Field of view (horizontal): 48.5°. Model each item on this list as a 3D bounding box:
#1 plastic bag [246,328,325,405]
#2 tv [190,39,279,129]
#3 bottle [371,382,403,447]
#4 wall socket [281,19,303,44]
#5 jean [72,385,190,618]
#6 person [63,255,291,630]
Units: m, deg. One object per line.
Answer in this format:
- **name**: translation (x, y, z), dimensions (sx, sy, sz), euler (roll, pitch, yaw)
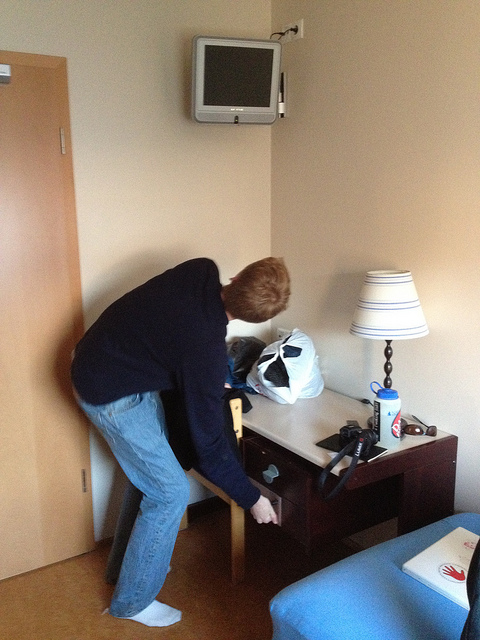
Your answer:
- **plastic bag**: translation (0.172, 0.130, 2.153), dimensions (0.397, 0.297, 0.233), euler (1, 21, -9)
- **tv**: translation (-0.022, -0.953, 2.119), dimensions (0.376, 0.334, 0.048), euler (-6, 33, -32)
- **bottle**: translation (0.484, 0.306, 1.737), dimensions (0.088, 0.175, 0.166), euler (0, 8, 16)
- **wall socket**: translation (0.227, -1.271, 2.335), dimensions (0.026, 0.098, 0.161), euler (-8, 10, -34)
- **jean**: translation (-0.350, 0.484, 1.846), dimensions (0.362, 1.091, 0.309), euler (-1, 5, -19)
- **person**: translation (-0.170, 0.399, 1.816), dimensions (0.661, 1.316, 0.685), euler (-6, 24, -39)
